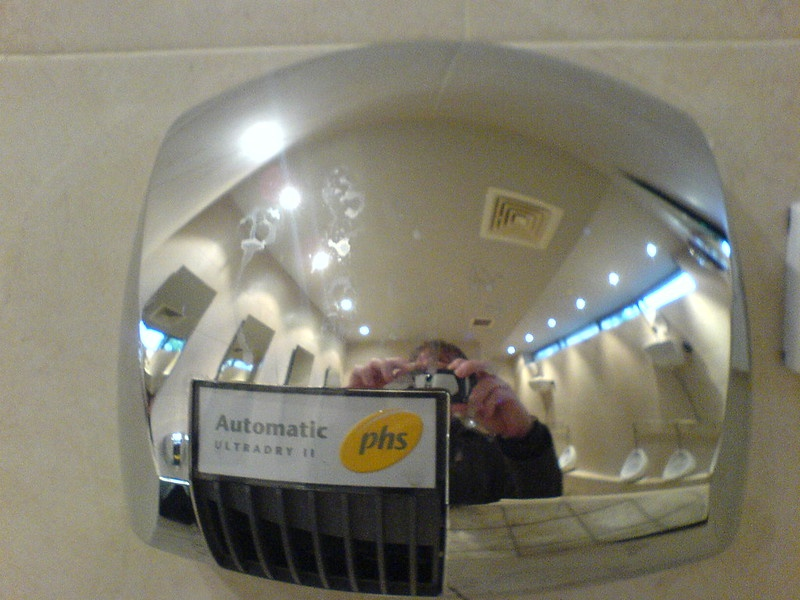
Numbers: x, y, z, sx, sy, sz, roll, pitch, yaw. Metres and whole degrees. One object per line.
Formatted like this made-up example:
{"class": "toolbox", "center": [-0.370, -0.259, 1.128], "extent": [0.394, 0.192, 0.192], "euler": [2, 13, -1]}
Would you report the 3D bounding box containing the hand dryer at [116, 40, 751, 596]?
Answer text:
{"class": "hand dryer", "center": [0.086, -0.013, 1.067], "extent": [0.781, 0.430, 0.760], "euler": [2, 75, 0]}
